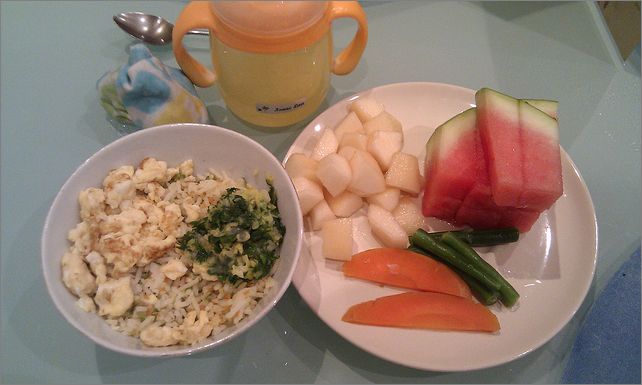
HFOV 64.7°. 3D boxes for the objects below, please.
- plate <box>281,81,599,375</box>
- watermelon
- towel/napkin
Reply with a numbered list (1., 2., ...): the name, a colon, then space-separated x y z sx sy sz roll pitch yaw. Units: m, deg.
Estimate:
1. plate: 0.593 0.019 2.582 1.138 1.362 0.911 1 2 -5
2. watermelon: 0.735 -0.128 2.405 0.610 0.632 0.595 7 -2 -5
3. towel/napkin: -0.768 -0.460 2.319 0.497 0.372 0.399 7 33 8
